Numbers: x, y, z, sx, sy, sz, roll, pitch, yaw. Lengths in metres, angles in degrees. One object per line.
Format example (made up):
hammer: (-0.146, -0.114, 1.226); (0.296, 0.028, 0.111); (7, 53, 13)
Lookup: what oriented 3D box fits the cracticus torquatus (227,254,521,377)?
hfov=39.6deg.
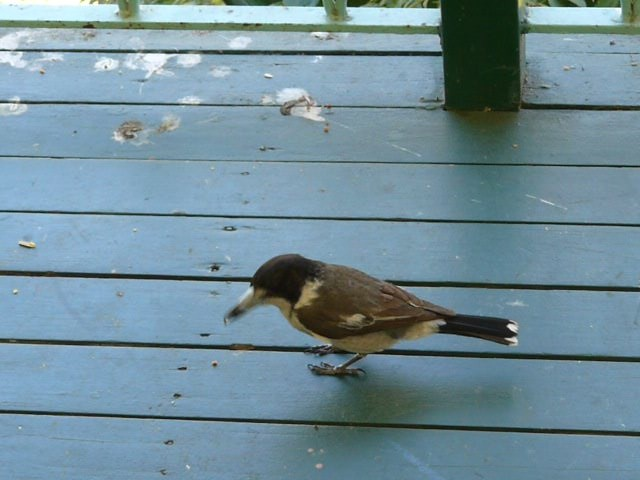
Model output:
cracticus torquatus: (0.165, 0.233, 2.787); (0.924, 0.280, 0.256); (-1, 6, 0)
